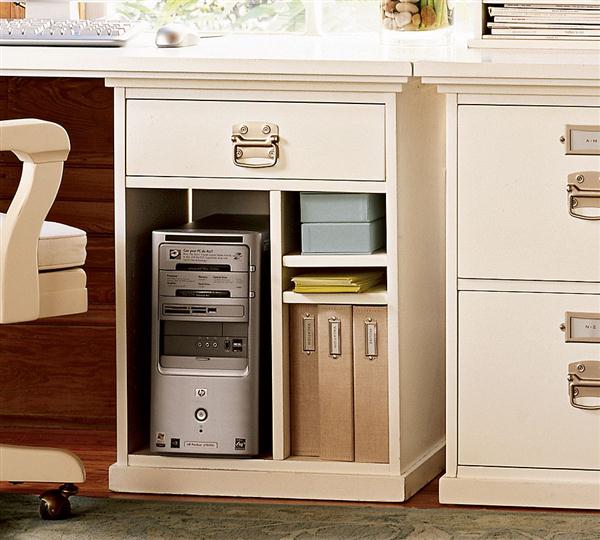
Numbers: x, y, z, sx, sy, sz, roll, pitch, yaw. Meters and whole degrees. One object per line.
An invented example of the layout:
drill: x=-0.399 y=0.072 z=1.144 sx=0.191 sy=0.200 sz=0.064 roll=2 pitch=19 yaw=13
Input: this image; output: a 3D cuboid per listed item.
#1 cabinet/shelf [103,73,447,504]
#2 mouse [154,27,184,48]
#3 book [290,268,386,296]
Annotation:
cabinet/shelf: x=-0.033 y=0.023 z=1.642 sx=0.706 sy=0.869 sz=0.413 roll=2 pitch=12 yaw=11
mouse: x=-0.302 y=-0.539 z=1.712 sx=0.063 sy=0.052 sz=0.048 roll=-1 pitch=12 yaw=-1
book: x=0.086 y=0.014 z=1.574 sx=0.179 sy=0.037 sz=0.175 roll=1 pitch=13 yaw=10
